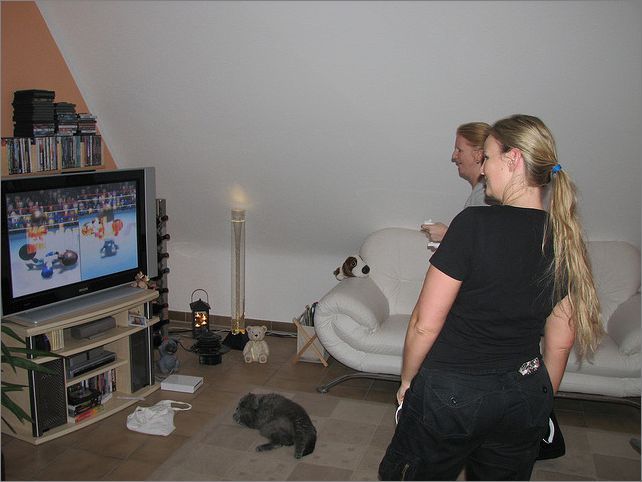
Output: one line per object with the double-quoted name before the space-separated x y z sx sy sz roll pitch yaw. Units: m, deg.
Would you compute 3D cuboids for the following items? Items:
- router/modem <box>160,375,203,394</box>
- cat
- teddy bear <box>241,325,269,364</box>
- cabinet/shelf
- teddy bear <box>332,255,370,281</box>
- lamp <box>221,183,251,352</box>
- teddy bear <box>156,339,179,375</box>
"router/modem" -1.077 1.095 3.735 0.294 0.063 0.204 3 12 10
"cat" -0.281 1.106 3.052 0.433 0.261 0.292 14 4 17
"teddy bear" -0.541 0.885 4.268 0.301 0.403 0.276 1 5 -2
"cabinet/shelf" -1.618 0.804 3.341 0.428 0.772 1.014 9 14 34
"teddy bear" 0.261 0.243 4.233 0.273 0.143 0.176 -17 4 35
"lamp" -0.810 0.247 4.543 0.218 1.419 0.597 -1 12 -9
"teddy bear" -1.265 0.934 3.964 0.177 0.275 0.183 5 1 29
